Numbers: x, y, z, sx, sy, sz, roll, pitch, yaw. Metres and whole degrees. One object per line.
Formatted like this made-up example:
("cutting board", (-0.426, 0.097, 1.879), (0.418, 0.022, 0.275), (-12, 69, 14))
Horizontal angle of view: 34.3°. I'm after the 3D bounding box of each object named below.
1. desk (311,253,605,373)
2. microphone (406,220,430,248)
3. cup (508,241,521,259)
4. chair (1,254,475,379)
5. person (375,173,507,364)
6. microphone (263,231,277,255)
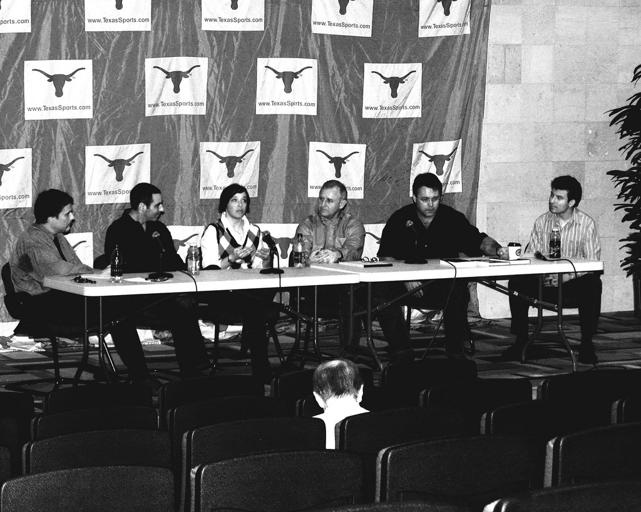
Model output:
("desk", (0.790, 0.441, 6.968), (1.982, 0.798, 0.687), (-2, 9, -3))
("microphone", (0.680, -0.164, 7.314), (0.133, 0.222, 0.084), (14, 36, 44))
("cup", (1.326, -0.047, 7.009), (0.092, 0.114, 0.104), (1, 0, -3))
("chair", (-0.443, 0.393, 6.483), (2.437, 0.679, 0.794), (-4, 6, -22))
("person", (0.787, 0.041, 7.362), (0.827, 1.237, 0.927), (-7, 14, -26))
("microphone", (-0.305, -0.103, 6.297), (0.074, 0.040, 0.139), (-27, -28, -5))
